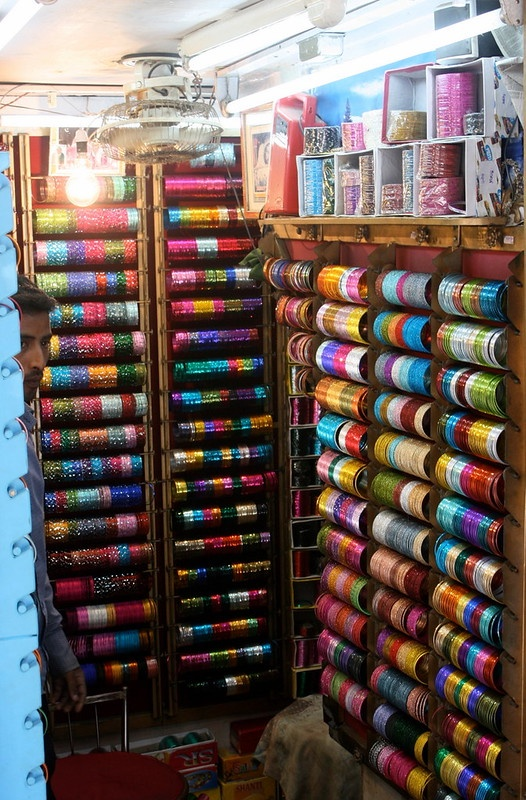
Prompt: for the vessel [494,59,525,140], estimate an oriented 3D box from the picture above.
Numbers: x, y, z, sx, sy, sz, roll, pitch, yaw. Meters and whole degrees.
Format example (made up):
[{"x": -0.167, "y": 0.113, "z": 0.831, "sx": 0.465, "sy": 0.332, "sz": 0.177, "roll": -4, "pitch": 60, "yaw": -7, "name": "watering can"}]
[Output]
[{"x": 0.879, "y": -1.105, "z": 2.327, "sx": 0.082, "sy": 0.205, "sz": 0.110, "roll": -1, "pitch": 10, "yaw": 18, "name": "vessel"}]
